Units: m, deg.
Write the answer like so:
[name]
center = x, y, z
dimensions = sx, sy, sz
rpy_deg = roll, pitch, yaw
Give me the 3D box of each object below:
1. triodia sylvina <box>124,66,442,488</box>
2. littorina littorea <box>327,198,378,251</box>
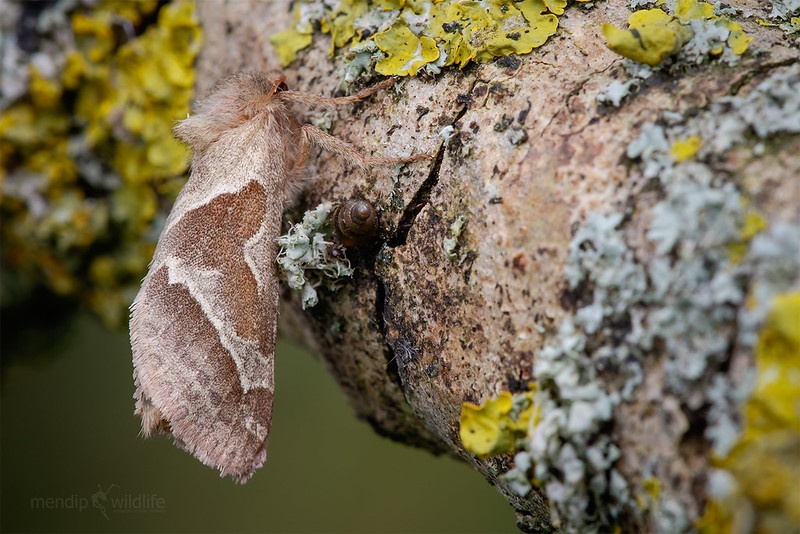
[triodia sylvina]
center = -0.359, -0.007, 2.975
dimensions = 0.618, 0.272, 1.047
rpy_deg = 6, 89, 22
[littorina littorea]
center = -0.109, -0.092, 2.745
dimensions = 0.104, 0.066, 0.107
rpy_deg = -42, 104, 1
